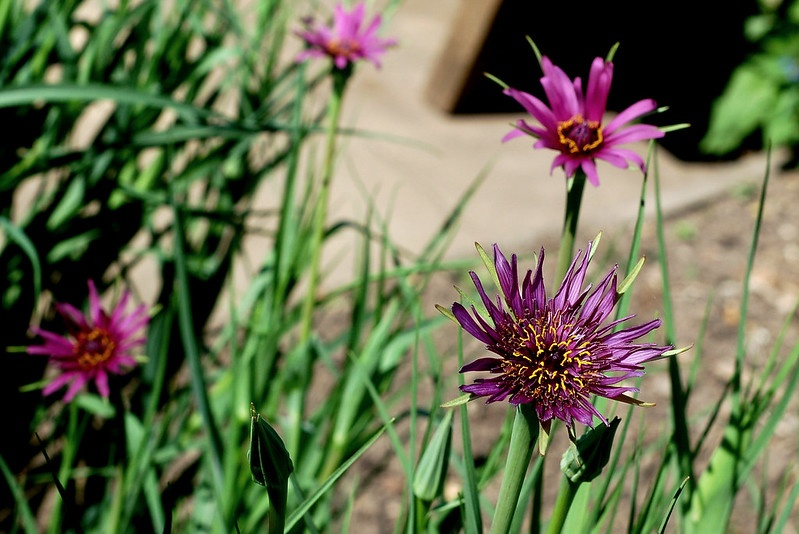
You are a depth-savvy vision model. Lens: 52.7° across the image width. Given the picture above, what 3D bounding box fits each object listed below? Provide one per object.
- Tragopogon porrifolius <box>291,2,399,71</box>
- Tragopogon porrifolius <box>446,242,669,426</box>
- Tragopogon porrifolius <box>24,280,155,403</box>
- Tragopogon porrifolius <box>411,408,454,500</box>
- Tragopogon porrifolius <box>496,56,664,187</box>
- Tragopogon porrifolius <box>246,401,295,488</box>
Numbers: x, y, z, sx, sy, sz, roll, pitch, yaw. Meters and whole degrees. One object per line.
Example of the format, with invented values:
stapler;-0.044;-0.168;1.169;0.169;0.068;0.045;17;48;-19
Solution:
Tragopogon porrifolius;-0.071;-0.291;1.039;0.089;0.036;0.105;-12;64;-10
Tragopogon porrifolius;0.185;0.116;1.006;0.276;0.137;0.277;5;17;30
Tragopogon porrifolius;-0.397;0.097;1.034;0.144;0.166;0.113;1;15;-14
Tragopogon porrifolius;0.041;0.238;1.021;0.043;0.134;0.028;5;13;4
Tragopogon porrifolius;0.227;-0.181;1.073;0.224;0.131;0.234;-11;15;-13
Tragopogon porrifolius;-0.155;0.213;0.967;0.055;0.116;0.051;1;14;-11
